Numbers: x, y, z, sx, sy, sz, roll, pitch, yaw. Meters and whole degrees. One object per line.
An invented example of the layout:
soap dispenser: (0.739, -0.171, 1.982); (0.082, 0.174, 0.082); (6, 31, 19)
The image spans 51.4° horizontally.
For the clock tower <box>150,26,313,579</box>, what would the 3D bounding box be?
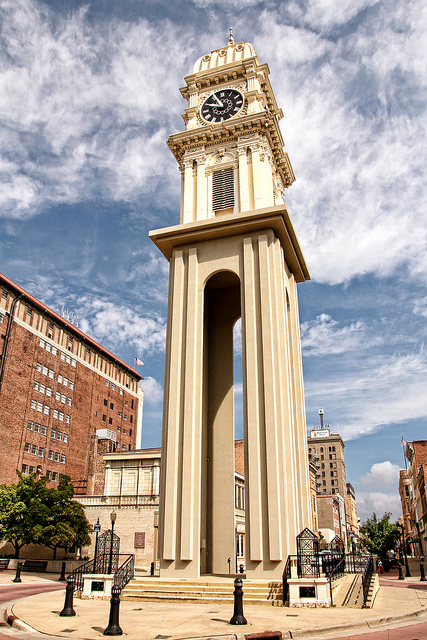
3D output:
clock tower: (0.556, -2.319, 25.025); (6.687, 29.333, 7.040); (0, -10, 1)
